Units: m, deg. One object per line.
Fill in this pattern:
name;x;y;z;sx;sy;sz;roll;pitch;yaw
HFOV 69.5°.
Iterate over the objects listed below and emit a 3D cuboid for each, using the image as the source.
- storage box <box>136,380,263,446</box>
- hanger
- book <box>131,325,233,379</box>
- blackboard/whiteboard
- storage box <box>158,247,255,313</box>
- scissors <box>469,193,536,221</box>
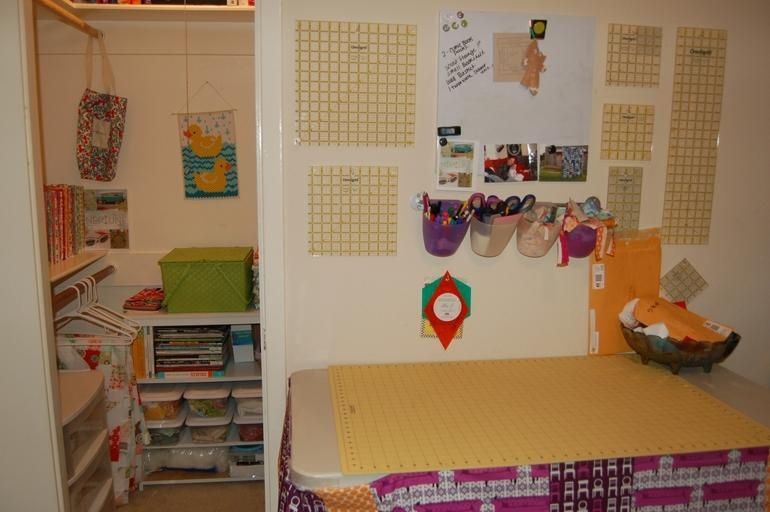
storage box;-1.091;0.890;3.366;0.562;0.218;0.387;-1;10;-9
hanger;-1.652;0.326;3.158;0.388;0.262;0.086;4;24;8
book;-1.182;0.559;3.261;0.400;0.151;0.301;0;5;-6
blackboard/whiteboard;0.522;-0.656;2.255;0.012;0.621;0.782;-24;32;-39
storage box;-1.044;0.149;3.324;0.395;0.266;0.407;0;7;-4
scissors;0.465;-0.208;2.220;0.188;0.059;0.137;-34;39;-17
